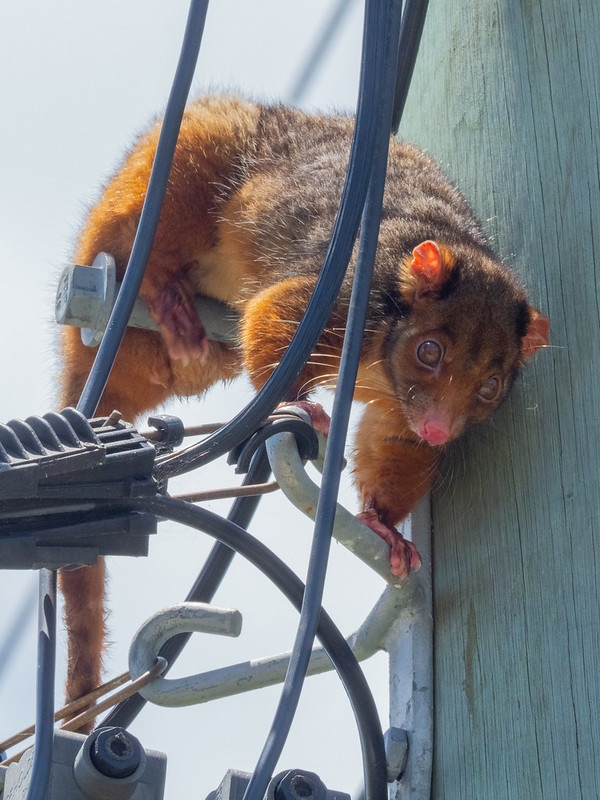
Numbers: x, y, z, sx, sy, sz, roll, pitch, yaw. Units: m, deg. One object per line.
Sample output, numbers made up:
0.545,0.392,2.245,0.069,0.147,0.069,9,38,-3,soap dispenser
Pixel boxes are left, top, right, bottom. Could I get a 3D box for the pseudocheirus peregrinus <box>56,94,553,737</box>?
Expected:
0.022,-0.296,6.185,0.666,1.250,2.283,11,5,-26,pseudocheirus peregrinus
